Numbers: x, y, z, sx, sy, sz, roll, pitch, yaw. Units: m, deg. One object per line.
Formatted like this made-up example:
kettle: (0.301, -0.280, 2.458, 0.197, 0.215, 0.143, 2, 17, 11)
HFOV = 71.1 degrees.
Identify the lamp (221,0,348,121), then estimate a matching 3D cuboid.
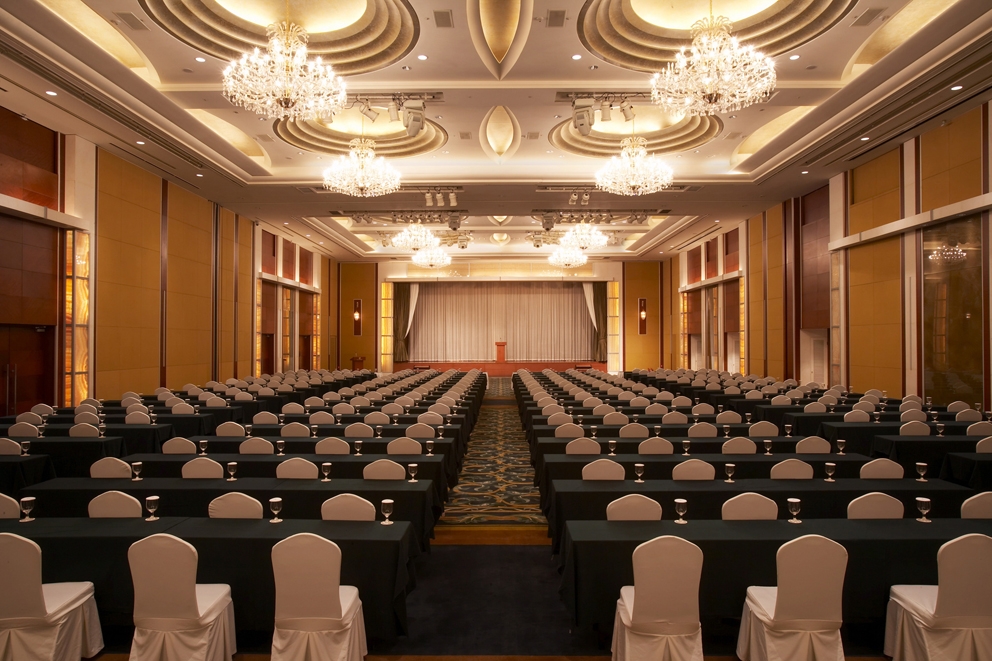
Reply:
lamp: (-3.111, -3.854, 10.273, 1.530, 1.165, 1.027, 2, -6, 0)

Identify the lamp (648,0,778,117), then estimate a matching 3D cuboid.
lamp: (3.212, -3.990, 10.299, 1.682, 1.321, 0.971, 0, -7, 17)

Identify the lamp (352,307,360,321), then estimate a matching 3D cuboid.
lamp: (-5.930, -0.675, 29.761, 0.439, 0.385, 0.102, -3, -1, 6)

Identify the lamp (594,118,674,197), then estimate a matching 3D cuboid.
lamp: (2.822, -3.506, 14.328, 1.472, 1.937, 1.459, 2, 3, 14)

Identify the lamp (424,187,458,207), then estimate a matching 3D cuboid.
lamp: (-1.349, -3.351, 17.203, 0.513, 0.322, 0.378, 0, -13, -5)

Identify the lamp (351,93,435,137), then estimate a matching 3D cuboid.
lamp: (-1.864, -4.061, 13.005, 1.965, 0.681, 0.486, 5, 21, 19)
